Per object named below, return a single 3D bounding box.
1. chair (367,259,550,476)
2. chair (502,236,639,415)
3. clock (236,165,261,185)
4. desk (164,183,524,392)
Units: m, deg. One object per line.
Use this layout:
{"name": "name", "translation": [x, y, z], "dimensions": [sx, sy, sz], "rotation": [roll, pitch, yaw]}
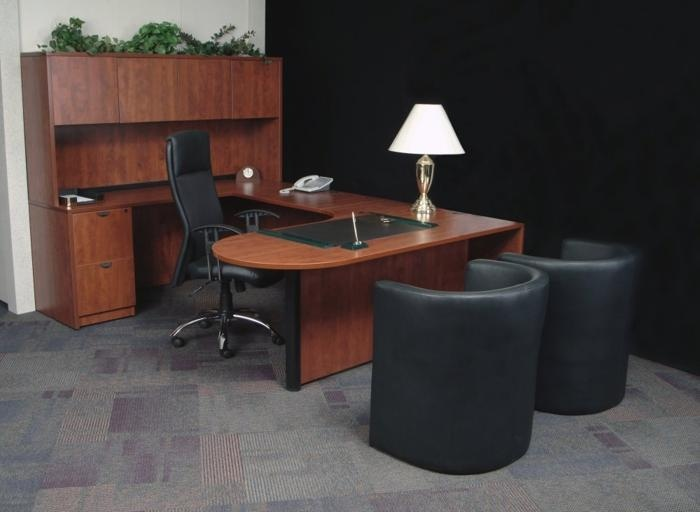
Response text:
{"name": "chair", "translation": [0.707, 0.613, 3.273], "dimensions": [1.027, 0.973, 0.889], "rotation": [-8, 9, -36]}
{"name": "chair", "translation": [1.466, 0.520, 3.844], "dimensions": [1.003, 0.964, 0.840], "rotation": [-4, -1, -29]}
{"name": "clock", "translation": [-1.124, -0.885, 6.069], "dimensions": [0.223, 0.131, 0.217], "rotation": [1, 10, 3]}
{"name": "desk", "translation": [0.023, 0.199, 3.979], "dimensions": [1.655, 0.648, 1.767], "rotation": [-9, 15, -40]}
